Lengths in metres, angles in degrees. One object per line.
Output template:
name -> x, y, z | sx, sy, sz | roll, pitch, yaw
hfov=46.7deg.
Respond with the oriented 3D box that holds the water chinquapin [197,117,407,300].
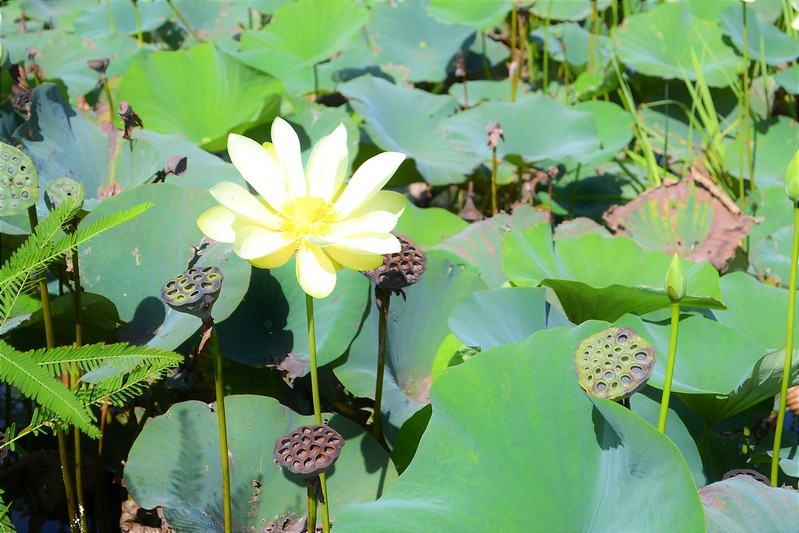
water chinquapin -> -0.198, -0.128, 1.888 | 0.398, 0.304, 0.228 | -3, 25, 12
